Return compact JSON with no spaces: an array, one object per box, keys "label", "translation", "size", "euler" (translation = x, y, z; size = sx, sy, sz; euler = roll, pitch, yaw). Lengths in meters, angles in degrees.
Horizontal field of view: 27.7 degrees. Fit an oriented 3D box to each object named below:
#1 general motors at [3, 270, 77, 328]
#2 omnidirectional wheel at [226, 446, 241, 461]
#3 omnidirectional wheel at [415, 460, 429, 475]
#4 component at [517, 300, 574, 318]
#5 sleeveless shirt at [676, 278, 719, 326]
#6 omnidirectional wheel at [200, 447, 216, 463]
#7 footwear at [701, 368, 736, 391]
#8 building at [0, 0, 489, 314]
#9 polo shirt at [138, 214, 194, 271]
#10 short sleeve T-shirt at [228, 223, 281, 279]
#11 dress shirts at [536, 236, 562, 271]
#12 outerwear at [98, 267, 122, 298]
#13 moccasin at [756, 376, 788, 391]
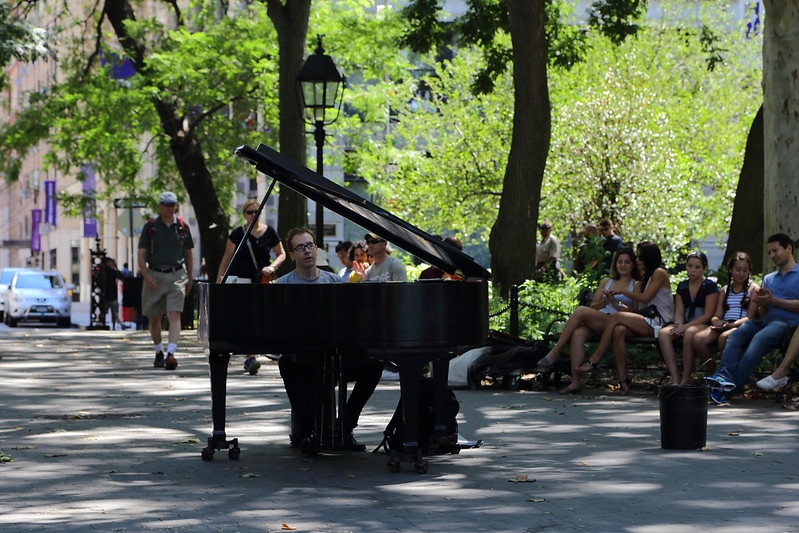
[{"label":"general motors","translation":[-10.658,0.958,47.343],"size":[1.402,0.953,2.530],"euler":[1,-7,-17]},{"label":"omnidirectional wheel","translation":[-2.544,2.838,24.680],"size":[0.228,0.182,0.158],"euler":[-1,-2,20]},{"label":"omnidirectional wheel","translation":[0.315,2.971,24.198],"size":[0.232,0.181,0.198],"euler":[3,-11,12]},{"label":"component","translation":[2.723,0.811,30.863],"size":[0.935,0.112,0.095],"euler":[14,-23,5]},{"label":"sleeveless shirt","translation":[5.195,0.579,28.680],"size":[0.830,0.660,0.407],"euler":[7,17,12]},{"label":"omnidirectional wheel","translation":[-2.941,2.837,24.653],"size":[0.238,0.174,0.211],"euler":[2,-6,6]},{"label":"footwear","translation":[5.480,1.947,27.713],"size":[0.715,0.234,0.293],"euler":[11,31,15]},{"label":"building","translation":[-4.738,-4.506,44.658],"size":[13.015,8.881,8.229],"euler":[-1,-11,-4]},{"label":"polo shirt","translation":[-4.537,-0.436,31.163],"size":[1.041,1.013,0.454],"euler":[-2,12,-10]},{"label":"short sleeve T-shirt","translation":[-2.666,-0.257,29.340],"size":[1.288,0.973,0.620],"euler":[3,-4,-12]},{"label":"dress shirts","translation":[3.444,-0.302,37.882],"size":[0.555,0.662,0.892],"euler":[5,-6,-9]},{"label":"outerwear","translation":[-7.552,0.388,41.772],"size":[0.517,0.779,0.947],"euler":[-3,4,-37]},{"label":"moccasin","translation":[6.362,1.978,27.575],"size":[0.603,0.191,0.260],"euler":[3,-4,-17]}]
